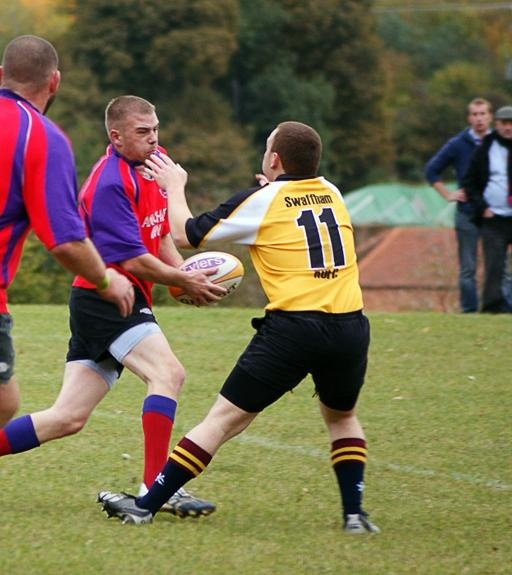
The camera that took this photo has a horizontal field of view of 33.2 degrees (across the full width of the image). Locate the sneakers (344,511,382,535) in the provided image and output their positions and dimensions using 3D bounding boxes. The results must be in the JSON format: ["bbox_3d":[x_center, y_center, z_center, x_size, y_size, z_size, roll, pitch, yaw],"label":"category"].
[{"bbox_3d":[0.444,1.005,3.648,0.145,0.071,0.095,-2,11,-6],"label":"sneakers"}]

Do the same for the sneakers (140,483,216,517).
[{"bbox_3d":[-0.387,0.977,3.932,0.414,0.136,0.132,-2,2,16],"label":"sneakers"}]

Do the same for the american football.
[{"bbox_3d":[-0.268,-0.050,4.222,0.433,0.195,0.269,-16,8,-25],"label":"american football"}]

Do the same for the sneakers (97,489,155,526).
[{"bbox_3d":[-0.560,0.963,3.731,0.277,0.122,0.085,22,-26,21],"label":"sneakers"}]

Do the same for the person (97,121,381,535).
[{"bbox_3d":[0.028,0.157,3.770,0.985,1.767,0.705,0,13,3],"label":"person"}]
